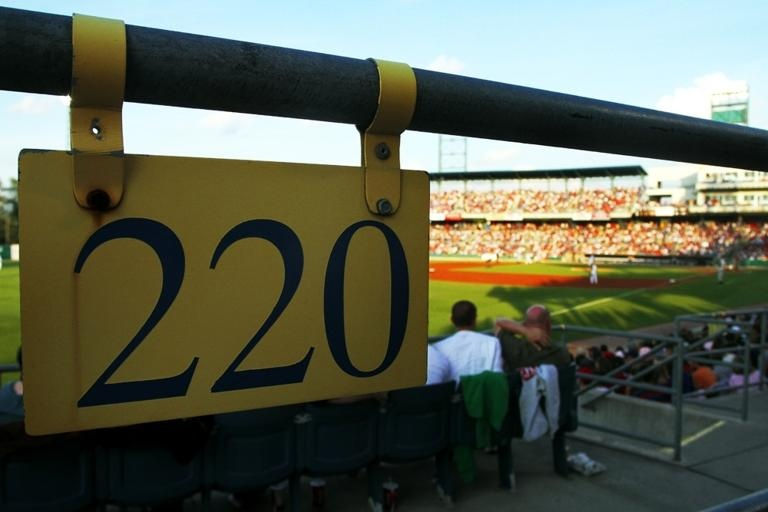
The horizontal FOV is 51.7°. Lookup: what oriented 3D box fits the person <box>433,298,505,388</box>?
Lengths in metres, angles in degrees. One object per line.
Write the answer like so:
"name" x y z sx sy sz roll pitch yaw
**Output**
"person" 0.634 0.658 5.841 0.526 0.710 0.514 -2 -1 13
